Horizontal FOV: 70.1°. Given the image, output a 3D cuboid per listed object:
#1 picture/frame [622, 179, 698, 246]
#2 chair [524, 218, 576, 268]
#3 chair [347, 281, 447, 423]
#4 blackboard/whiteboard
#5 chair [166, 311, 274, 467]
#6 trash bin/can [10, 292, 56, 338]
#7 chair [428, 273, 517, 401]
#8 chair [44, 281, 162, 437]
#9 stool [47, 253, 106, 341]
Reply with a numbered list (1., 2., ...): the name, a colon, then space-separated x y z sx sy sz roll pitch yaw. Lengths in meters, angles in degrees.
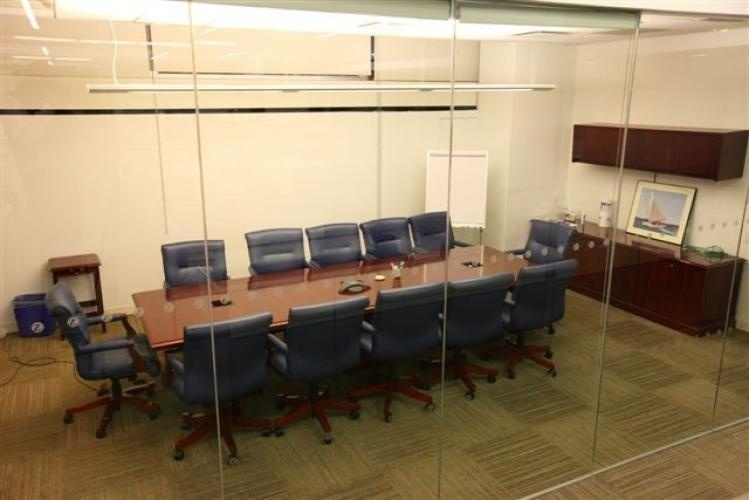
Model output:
1. picture/frame: 2.139 -0.308 4.052 0.488 0.472 0.033 7 12 -20
2. chair: 1.214 -0.069 3.751 0.304 0.399 0.348 12 14 28
3. chair: 0.127 0.617 3.589 0.600 0.821 0.569 -2 8 -25
4. blackboard/whiteboard: 0.483 -0.394 3.276 0.501 0.560 0.047 -2 7 -16
5. chair: -0.950 0.789 3.310 0.643 0.825 0.617 -3 10 -18
6. trash bin/can: -1.789 0.327 2.793 0.206 0.227 0.148 -2 20 -23
7. chair: 0.607 0.550 3.785 0.628 0.843 0.634 10 16 42
8. chair: -1.455 0.433 3.293 0.762 1.037 0.772 -3 26 -21
9. stool: -1.549 0.230 2.789 0.219 0.344 0.164 -7 17 -34
